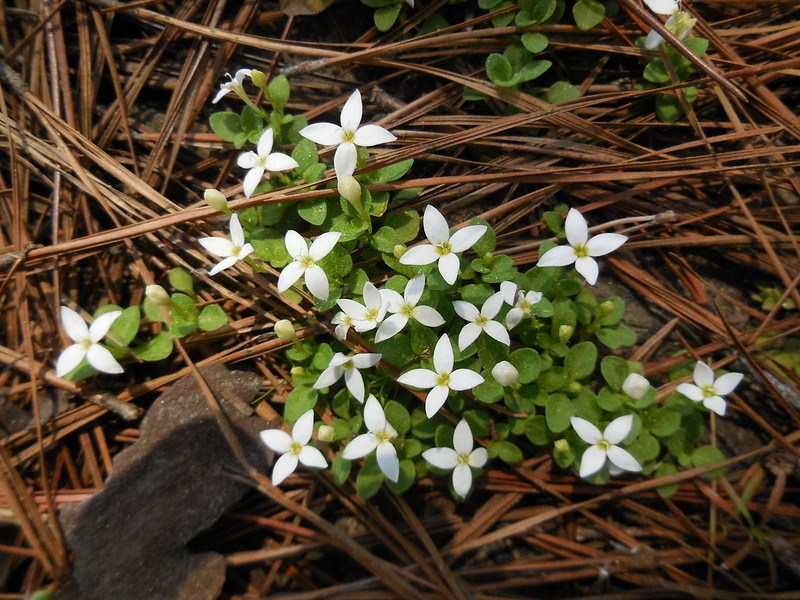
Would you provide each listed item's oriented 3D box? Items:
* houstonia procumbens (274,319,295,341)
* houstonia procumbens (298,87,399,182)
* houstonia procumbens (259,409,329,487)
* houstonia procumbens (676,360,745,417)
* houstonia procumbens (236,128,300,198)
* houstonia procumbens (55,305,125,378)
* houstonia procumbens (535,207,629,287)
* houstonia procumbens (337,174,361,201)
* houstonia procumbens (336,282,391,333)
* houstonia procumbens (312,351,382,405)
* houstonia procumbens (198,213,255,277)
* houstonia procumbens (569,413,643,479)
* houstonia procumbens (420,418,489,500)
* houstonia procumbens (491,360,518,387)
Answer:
[{"bbox_3d":[-0.737,0.167,4.629,0.130,0.138,0.055,-11,34,11],"label":"houstonia procumbens"},{"bbox_3d":[-0.328,-1.026,4.559,0.409,0.419,0.422,-28,45,-22],"label":"houstonia procumbens"},{"bbox_3d":[-0.655,0.916,4.479,0.339,0.347,0.384,-13,41,-7],"label":"houstonia procumbens"},{"bbox_3d":[1.904,0.556,4.535,0.283,0.136,0.294,-12,1,10],"label":"houstonia procumbens"},{"bbox_3d":[-0.868,-0.854,4.743,0.378,0.427,0.346,-16,43,-10],"label":"houstonia procumbens"},{"bbox_3d":[-1.969,0.252,4.557,0.401,0.315,0.367,-6,41,1],"label":"houstonia procumbens"},{"bbox_3d":[1.133,-0.351,4.484,0.366,0.334,0.464,25,50,32],"label":"houstonia procumbens"},{"bbox_3d":[-0.308,-0.682,4.510,0.142,0.163,0.101,-6,36,36],"label":"houstonia procumbens"},{"bbox_3d":[-0.163,0.020,4.592,0.313,0.308,0.174,-33,-5,26],"label":"houstonia procumbens"},{"bbox_3d":[-0.321,0.464,4.511,0.389,0.324,0.179,-27,3,11],"label":"houstonia procumbens"},{"bbox_3d":[-1.031,-0.332,4.686,0.348,0.236,0.173,8,43,31],"label":"houstonia procumbens"},{"bbox_3d":[1.245,0.861,4.418,0.363,0.272,0.309,-6,41,1],"label":"houstonia procumbens"},{"bbox_3d":[0.365,0.956,4.427,0.274,0.377,0.300,31,54,35],"label":"houstonia procumbens"},{"bbox_3d":[0.636,0.448,4.465,0.123,0.201,0.120,-29,47,-21],"label":"houstonia procumbens"}]
